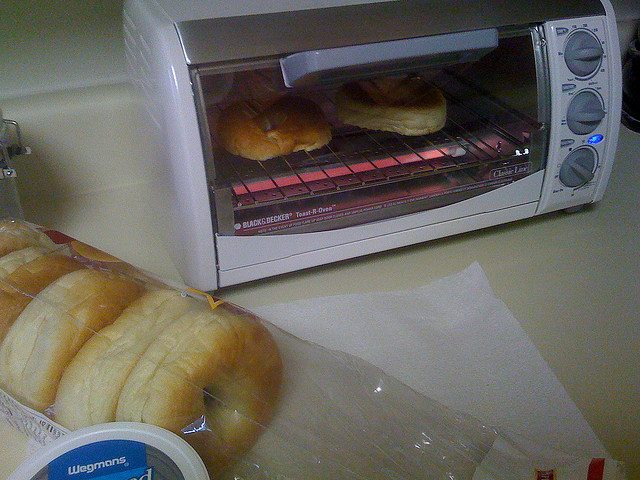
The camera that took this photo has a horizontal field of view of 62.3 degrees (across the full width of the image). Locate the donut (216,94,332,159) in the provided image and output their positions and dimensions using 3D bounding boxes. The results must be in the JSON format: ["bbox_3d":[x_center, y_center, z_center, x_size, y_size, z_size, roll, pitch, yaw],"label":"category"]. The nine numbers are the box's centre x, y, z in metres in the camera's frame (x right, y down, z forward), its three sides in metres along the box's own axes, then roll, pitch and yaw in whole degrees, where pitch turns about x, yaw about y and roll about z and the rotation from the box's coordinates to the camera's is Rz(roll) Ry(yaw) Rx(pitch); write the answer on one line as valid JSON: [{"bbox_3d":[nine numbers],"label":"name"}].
[{"bbox_3d":[-0.056,-0.154,0.751,0.181,0.096,0.048,-6,-2,-26],"label":"donut"}]

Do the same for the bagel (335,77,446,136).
[{"bbox_3d":[0.107,-0.208,0.826,0.145,0.093,0.129,-15,31,-31],"label":"bagel"}]

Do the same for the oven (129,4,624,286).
[{"bbox_3d":[0.044,-0.144,0.962,0.762,0.430,0.463,-11,40,-14],"label":"oven"}]
